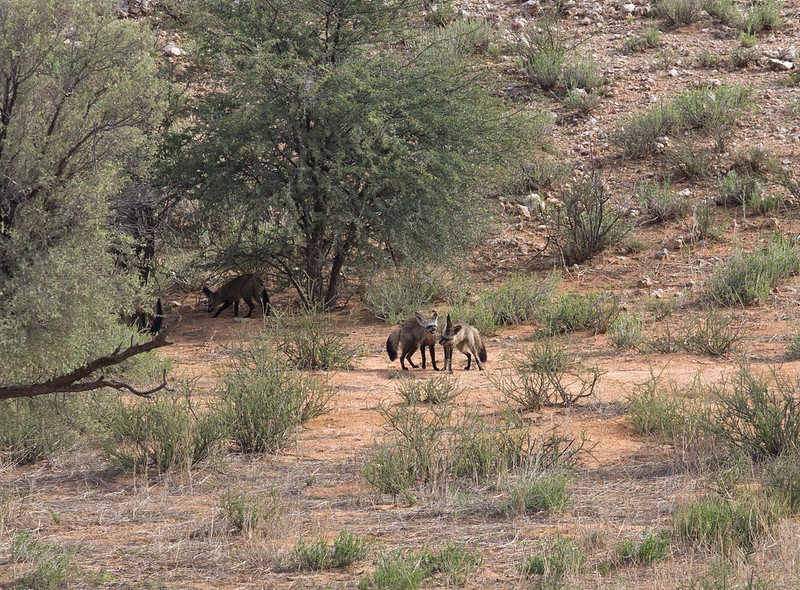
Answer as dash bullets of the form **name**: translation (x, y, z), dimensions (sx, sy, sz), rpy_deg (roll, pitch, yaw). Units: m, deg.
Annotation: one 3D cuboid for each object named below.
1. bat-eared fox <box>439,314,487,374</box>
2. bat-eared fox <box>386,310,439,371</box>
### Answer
- **bat-eared fox**: translation (0.932, 0.761, 17.749), dimensions (0.364, 0.849, 1.100), rpy_deg (5, 2, 41)
- **bat-eared fox**: translation (0.252, 0.734, 18.136), dimensions (0.399, 0.901, 1.061), rpy_deg (-1, -4, -43)
